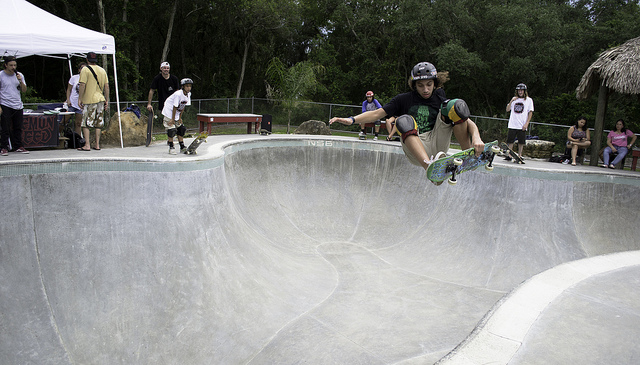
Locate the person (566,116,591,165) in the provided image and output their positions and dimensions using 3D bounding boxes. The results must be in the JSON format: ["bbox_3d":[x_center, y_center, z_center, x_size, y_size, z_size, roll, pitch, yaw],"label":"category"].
[{"bbox_3d":[8.980,-1.479,16.755,0.705,1.546,1.242,6,11,28],"label":"person"}]

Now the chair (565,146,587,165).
[{"bbox_3d":[9.211,-1.026,17.098,0.753,0.691,0.602,-16,-7,35],"label":"chair"}]

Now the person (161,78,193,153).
[{"bbox_3d":[-4.362,-2.053,14.661,0.812,2.167,1.043,-3,10,-23],"label":"person"}]

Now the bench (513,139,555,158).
[{"bbox_3d":[8.078,-1.265,18.051,1.080,0.451,1.055,-3,6,-36],"label":"bench"}]

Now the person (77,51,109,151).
[{"bbox_3d":[-6.691,-2.387,14.244,0.768,2.849,0.452,-4,11,-27],"label":"person"}]

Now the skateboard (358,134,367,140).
[{"bbox_3d":[1.563,-1.732,17.808,0.249,0.123,0.397,0,-1,2],"label":"skateboard"}]

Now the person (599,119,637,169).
[{"bbox_3d":[10.120,-1.316,16.424,1.372,1.591,0.589,-3,10,-26],"label":"person"}]

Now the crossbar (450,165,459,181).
[{"bbox_3d":[3.166,-0.243,11.356,0.187,0.373,0.254,1,9,-3],"label":"crossbar"}]

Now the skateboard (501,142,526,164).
[{"bbox_3d":[6.462,-0.984,16.116,1.017,0.272,0.151,46,43,6],"label":"skateboard"}]

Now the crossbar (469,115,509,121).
[{"bbox_3d":[7.855,-2.972,22.116,0.855,0.092,1.822,-6,12,-38],"label":"crossbar"}]

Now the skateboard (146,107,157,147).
[{"bbox_3d":[-5.598,-1.791,16.007,0.368,1.744,0.315,6,6,32],"label":"skateboard"}]
